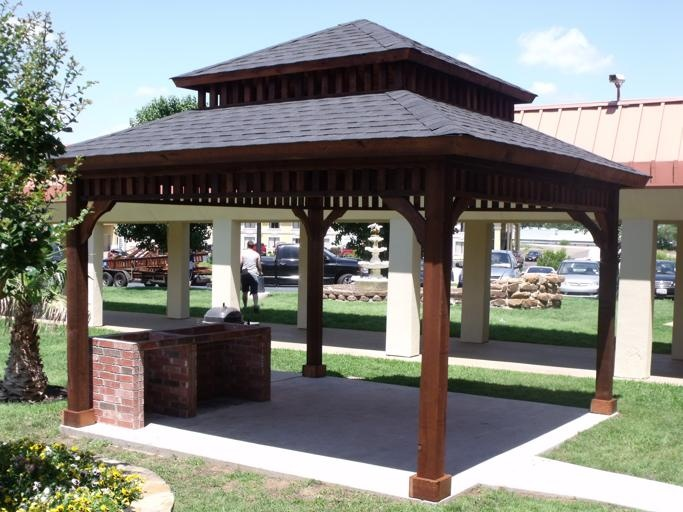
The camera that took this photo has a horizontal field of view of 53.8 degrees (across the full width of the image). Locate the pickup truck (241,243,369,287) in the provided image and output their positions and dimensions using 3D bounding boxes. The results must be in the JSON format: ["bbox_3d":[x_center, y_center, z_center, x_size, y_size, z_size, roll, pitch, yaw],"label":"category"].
[{"bbox_3d":[-1.557,0.693,30.953,4.394,1.851,2.067,-1,3,7],"label":"pickup truck"}]

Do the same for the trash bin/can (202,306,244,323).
[{"bbox_3d":[-2.036,0.987,11.236,0.373,0.169,0.379,1,1,39],"label":"trash bin/can"}]

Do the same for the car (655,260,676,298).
[{"bbox_3d":[13.814,1.042,28.760,0.707,1.375,3.707,1,1,25],"label":"car"}]
